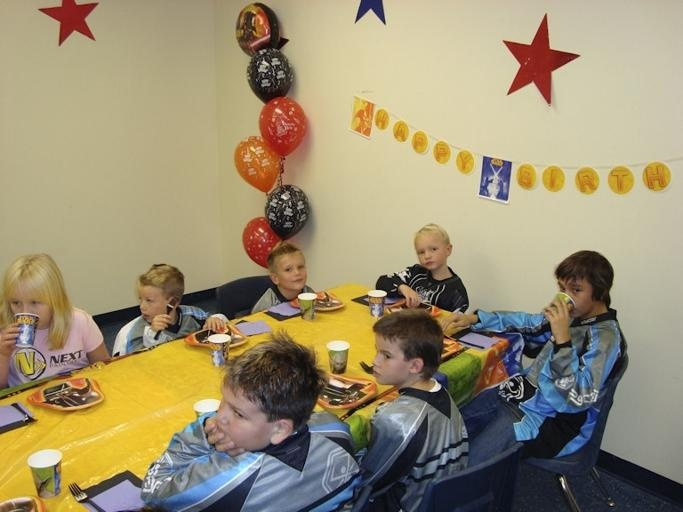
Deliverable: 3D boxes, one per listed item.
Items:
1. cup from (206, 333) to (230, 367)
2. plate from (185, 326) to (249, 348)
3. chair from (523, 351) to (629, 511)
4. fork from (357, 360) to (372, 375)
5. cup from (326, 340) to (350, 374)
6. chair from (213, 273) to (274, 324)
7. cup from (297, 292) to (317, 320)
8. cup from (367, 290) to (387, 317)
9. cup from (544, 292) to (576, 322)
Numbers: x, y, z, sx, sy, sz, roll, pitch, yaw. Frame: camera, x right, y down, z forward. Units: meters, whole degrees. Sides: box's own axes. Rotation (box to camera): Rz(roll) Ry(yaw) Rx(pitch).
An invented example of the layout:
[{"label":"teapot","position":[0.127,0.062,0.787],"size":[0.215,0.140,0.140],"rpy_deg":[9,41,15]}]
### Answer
[{"label":"cup","position":[-0.483,0.367,1.933],"size":[0.105,0.120,0.110],"rpy_deg":[2,4,0]},{"label":"plate","position":[-0.552,0.358,2.142],"size":[0.151,0.029,0.116],"rpy_deg":[4,19,8]},{"label":"chair","position":[1.107,0.800,2.253],"size":[0.328,0.839,0.665],"rpy_deg":[5,7,32]},{"label":"fork","position":[0.101,0.441,1.939],"size":[0.021,0.018,0.071],"rpy_deg":[1,23,-19]},{"label":"cup","position":[-0.011,0.390,1.945],"size":[0.107,0.121,0.113],"rpy_deg":[0,22,0]},{"label":"chair","position":[-0.586,0.215,2.905],"size":[0.260,0.338,0.270],"rpy_deg":[-9,18,-35]},{"label":"cup","position":[-0.154,0.243,2.397],"size":[0.103,0.113,0.109],"rpy_deg":[-1,10,0]},{"label":"cup","position":[0.176,0.232,2.438],"size":[0.105,0.114,0.110],"rpy_deg":[2,17,-1]},{"label":"cup","position":[0.964,0.214,2.150],"size":[0.100,0.110,0.082],"rpy_deg":[-4,25,34]}]
